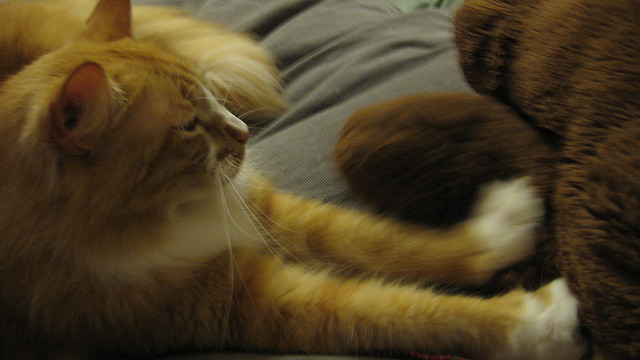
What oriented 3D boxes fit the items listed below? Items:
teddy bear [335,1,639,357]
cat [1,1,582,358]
[{"bbox_3d":[0.499,-0.088,1.994,0.859,0.775,0.360,15,4,24],"label":"teddy bear"},{"bbox_3d":[-0.114,0.101,1.915,1.262,0.548,0.611,8,46,3],"label":"cat"}]
